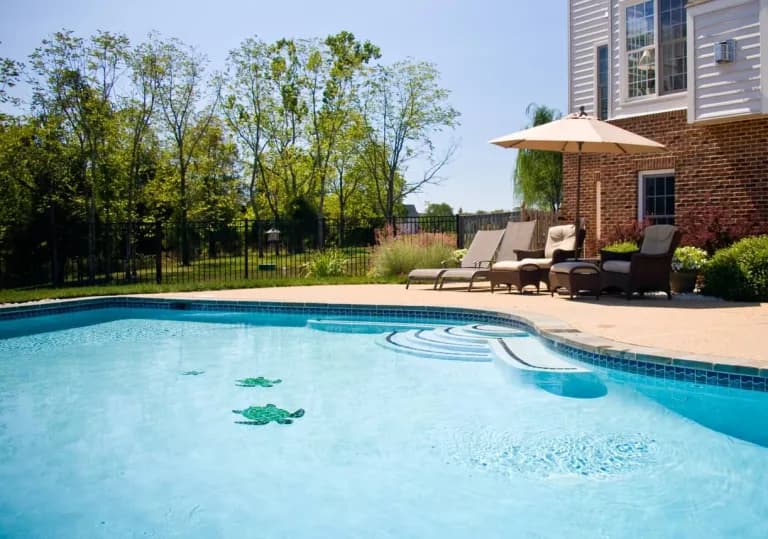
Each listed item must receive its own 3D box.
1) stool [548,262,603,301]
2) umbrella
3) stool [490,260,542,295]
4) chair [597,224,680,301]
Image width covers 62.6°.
[{"bbox_3d":[3.978,0.216,13.179,0.739,0.767,1.075,-1,2,-4],"label":"stool"},{"bbox_3d":[4.069,-1.954,14.095,3.017,3.216,3.836,-1,12,-2],"label":"umbrella"},{"bbox_3d":[3.014,-0.043,14.191,0.683,0.656,1.061,-4,4,-24],"label":"stool"},{"bbox_3d":[5.314,-0.163,13.401,1.498,2.043,1.503,2,-3,-9],"label":"chair"}]
